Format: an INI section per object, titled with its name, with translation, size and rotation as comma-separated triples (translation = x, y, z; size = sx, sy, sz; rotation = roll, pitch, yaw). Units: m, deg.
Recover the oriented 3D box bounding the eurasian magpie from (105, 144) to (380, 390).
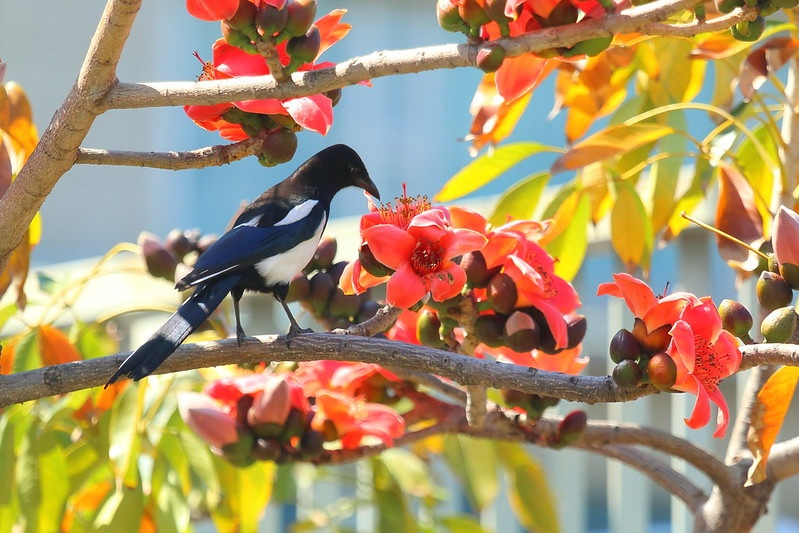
[eurasian magpie]
translation = -0.456, -0.049, 3.502
size = 0.258, 1.000, 0.512
rotation = 11, -71, 36
